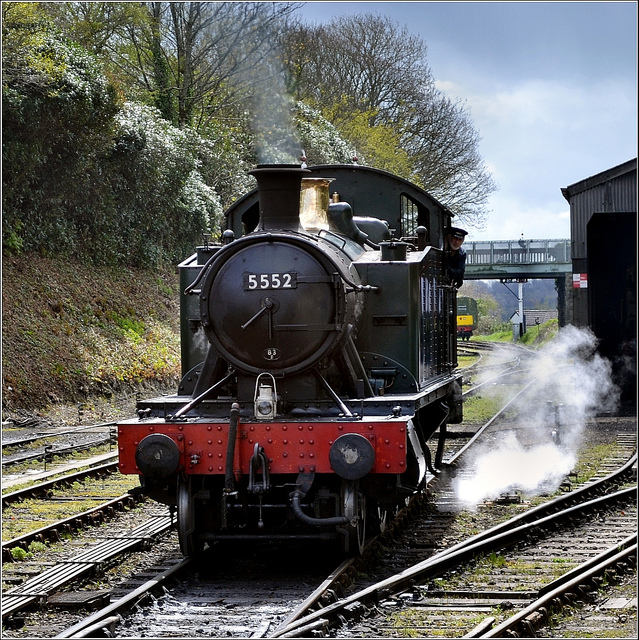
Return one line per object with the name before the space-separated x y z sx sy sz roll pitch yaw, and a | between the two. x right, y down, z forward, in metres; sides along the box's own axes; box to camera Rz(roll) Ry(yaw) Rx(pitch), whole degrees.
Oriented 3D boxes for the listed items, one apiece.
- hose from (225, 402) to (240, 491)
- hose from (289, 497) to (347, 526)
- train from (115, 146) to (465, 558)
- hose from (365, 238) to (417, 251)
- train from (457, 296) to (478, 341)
hose | -0.679 0.963 6.297 0.081 0.593 0.147 2 0 -6
hose | -0.001 1.468 6.325 0.469 0.210 0.245 3 0 -23
train | 0.104 0.139 8.843 2.772 3.198 5.479 3 0 10
hose | 0.661 -0.724 8.051 0.166 0.142 0.726 20 11 26
train | 10.041 -0.139 56.928 1.596 3.114 5.730 -1 0 13
